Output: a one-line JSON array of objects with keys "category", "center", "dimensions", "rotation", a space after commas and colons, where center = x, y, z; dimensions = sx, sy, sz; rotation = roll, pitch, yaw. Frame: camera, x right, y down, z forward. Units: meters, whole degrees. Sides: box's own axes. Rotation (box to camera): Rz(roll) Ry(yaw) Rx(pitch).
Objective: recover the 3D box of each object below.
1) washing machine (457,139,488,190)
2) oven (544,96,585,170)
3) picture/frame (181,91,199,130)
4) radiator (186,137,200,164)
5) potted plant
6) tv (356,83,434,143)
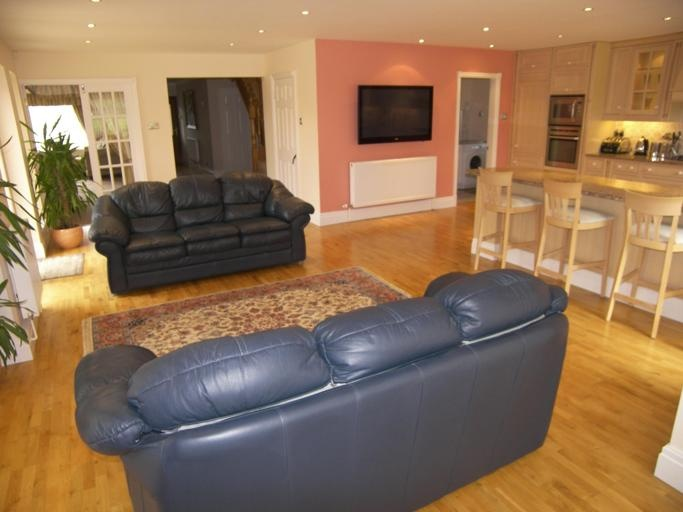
[{"category": "washing machine", "center": [2.635, -1.917, 10.354], "dimensions": [0.657, 0.901, 0.613], "rotation": [-13, 22, -25]}, {"category": "oven", "center": [3.749, -2.025, 8.035], "dimensions": [0.593, 1.149, 0.682], "rotation": [-19, 26, -38]}, {"category": "picture/frame", "center": [-4.190, -4.113, 13.758], "dimensions": [0.063, 1.089, 1.025], "rotation": [-12, 23, -34]}, {"category": "radiator", "center": [-4.223, -3.048, 14.084], "dimensions": [0.108, 0.589, 0.812], "rotation": [-10, 28, -24]}, {"category": "potted plant", "center": [-3.895, -1.055, 6.871], "dimensions": [0.743, 1.698, 2.281], "rotation": [-11, 21, -26]}, {"category": "tv", "center": [0.826, -2.214, 7.732], "dimensions": [1.435, 0.892, 0.136], "rotation": [-10, 19, -28]}]
